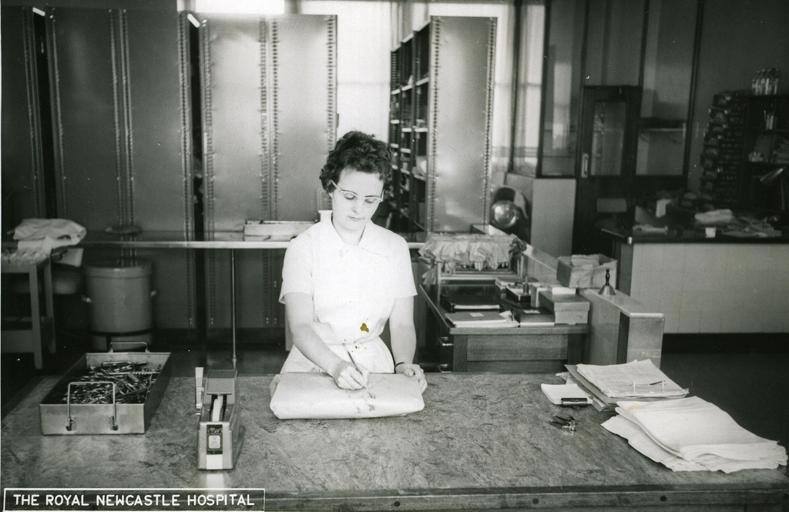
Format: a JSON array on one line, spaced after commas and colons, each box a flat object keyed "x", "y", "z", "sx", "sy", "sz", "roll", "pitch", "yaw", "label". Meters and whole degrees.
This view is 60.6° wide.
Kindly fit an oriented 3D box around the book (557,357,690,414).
[{"x": 1.227, "y": 0.659, "z": 3.532, "sx": 0.332, "sy": 0.060, "sz": 0.312, "roll": -6, "pitch": 16, "yaw": -16, "label": "book"}]

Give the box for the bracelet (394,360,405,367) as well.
[{"x": 0.027, "y": 0.575, "z": 3.590, "sx": 0.050, "sy": 0.021, "sz": 0.062, "roll": -1, "pitch": 12, "yaw": -3, "label": "bracelet"}]

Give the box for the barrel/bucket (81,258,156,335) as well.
[{"x": -2.653, "y": 0.396, "z": 6.816, "sx": 0.790, "sy": 0.683, "sz": 0.685, "roll": 1, "pitch": 10, "yaw": -5, "label": "barrel/bucket"}]

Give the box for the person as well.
[{"x": -0.237, "y": 0.022, "z": 3.536, "sx": 0.761, "sy": 1.318, "sz": 0.664, "roll": -4, "pitch": 14, "yaw": -14, "label": "person"}]
